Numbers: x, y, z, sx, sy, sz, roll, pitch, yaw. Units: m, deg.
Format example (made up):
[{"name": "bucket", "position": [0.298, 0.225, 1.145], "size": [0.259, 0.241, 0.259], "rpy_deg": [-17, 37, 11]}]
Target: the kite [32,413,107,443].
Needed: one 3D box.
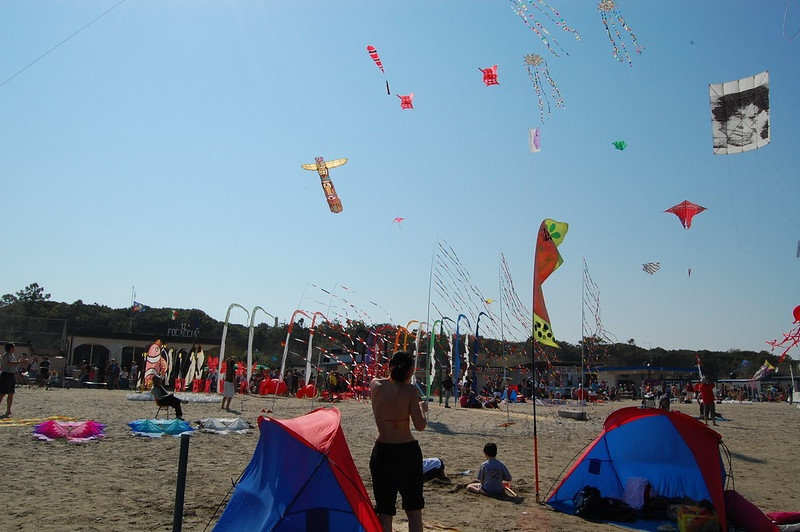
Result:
[{"name": "kite", "position": [-6.490, 3.243, 11.872], "size": [1.309, 0.388, 1.032], "rpy_deg": [7, -15, -18]}]

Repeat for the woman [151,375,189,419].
[{"name": "woman", "position": [-5.672, 3.280, 14.922], "size": [0.754, 1.152, 0.468], "rpy_deg": [-3, 0, -3]}]

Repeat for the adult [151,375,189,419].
[{"name": "adult", "position": [-5.659, 3.276, 14.924], "size": [0.779, 1.127, 0.461], "rpy_deg": [-2, 1, -3]}]

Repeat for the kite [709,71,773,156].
[{"name": "kite", "position": [7.147, -3.176, 12.764], "size": [1.050, 1.359, 0.736], "rpy_deg": [-6, -15, 31]}]

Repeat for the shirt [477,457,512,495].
[{"name": "shirt", "position": [1.572, 3.530, 10.164], "size": [0.534, 0.636, 0.305], "rpy_deg": [0, 6, 3]}]

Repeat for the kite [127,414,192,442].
[{"name": "kite", "position": [-5.105, 3.489, 13.048], "size": [1.335, 0.364, 1.341], "rpy_deg": [8, -16, -23]}]
